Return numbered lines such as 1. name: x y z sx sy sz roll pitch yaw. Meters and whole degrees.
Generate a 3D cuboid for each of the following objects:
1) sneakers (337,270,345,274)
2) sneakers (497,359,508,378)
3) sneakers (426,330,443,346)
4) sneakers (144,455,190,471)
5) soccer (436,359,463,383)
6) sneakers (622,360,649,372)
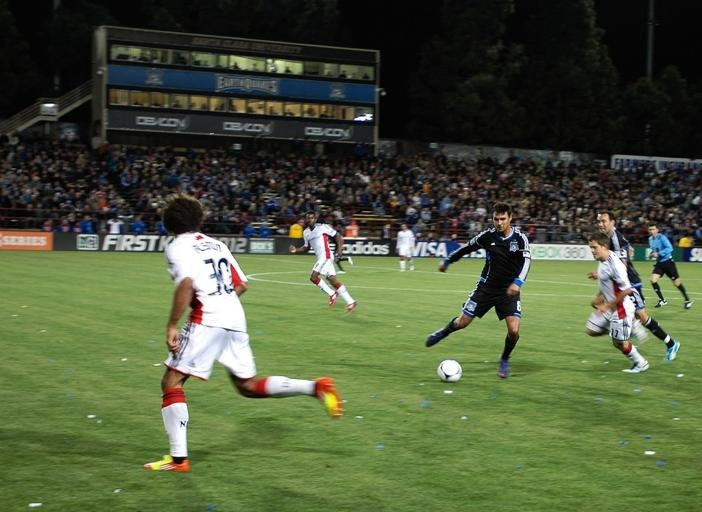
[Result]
1. sneakers: -0.377 0.606 25.944 0.219 0.123 0.418 1 2 -4
2. sneakers: 2.214 1.660 10.494 0.145 0.236 0.132 -1 -16 -2
3. sneakers: 1.315 1.321 11.413 0.243 0.250 0.289 0 1 -6
4. sneakers: -1.905 2.141 7.491 0.484 0.154 0.237 0 1 -1
5. soccer: 1.392 1.640 10.198 0.320 0.298 0.276 1 1 3
6. sneakers: 4.373 1.695 10.915 0.551 0.132 0.139 -8 -3 -4
